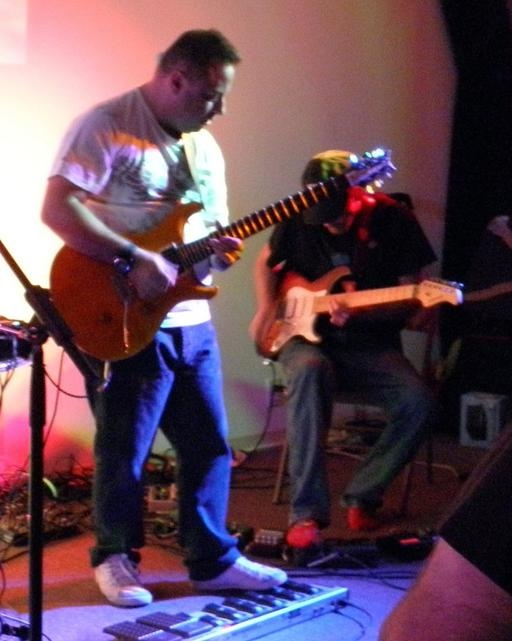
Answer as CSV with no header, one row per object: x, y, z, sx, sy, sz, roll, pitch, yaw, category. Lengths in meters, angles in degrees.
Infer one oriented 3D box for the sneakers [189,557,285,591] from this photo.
-0.053,0.681,1.838,0.286,0.092,0.091,-5,-14,-1,sneakers

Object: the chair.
0.328,0.388,2.365,0.626,0.658,0.541,9,-28,-20,chair

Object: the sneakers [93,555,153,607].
-0.358,0.686,1.770,0.086,0.077,0.208,0,-5,-31,sneakers

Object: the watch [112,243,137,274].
-0.312,-0.145,1.572,0.049,0.064,0.021,-3,-1,-10,watch

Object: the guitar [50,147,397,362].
-0.091,-0.190,1.748,0.876,0.480,0.138,-2,-1,-29,guitar

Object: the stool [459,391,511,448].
1.305,0.577,3.785,0.272,0.321,0.223,-3,-1,14,stool
